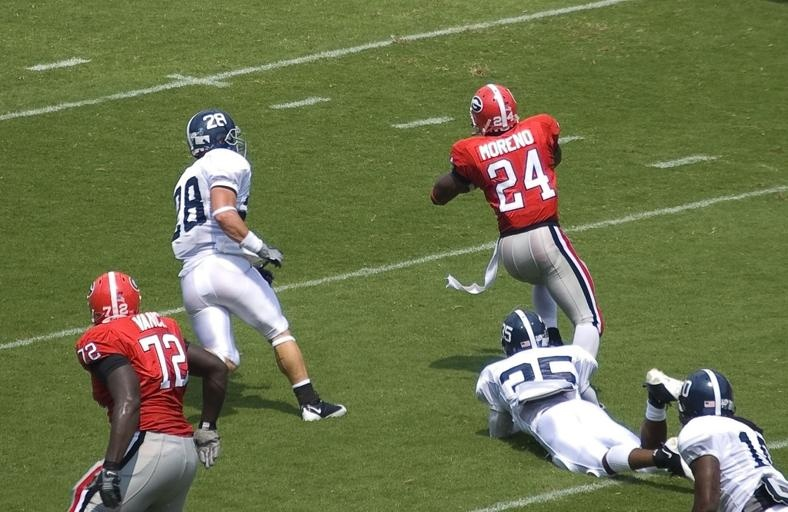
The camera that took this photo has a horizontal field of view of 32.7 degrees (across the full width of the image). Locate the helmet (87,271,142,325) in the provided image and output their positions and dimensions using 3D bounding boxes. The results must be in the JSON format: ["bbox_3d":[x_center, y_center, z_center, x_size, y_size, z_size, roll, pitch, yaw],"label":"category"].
[{"bbox_3d":[-2.504,0.368,12.123,0.425,0.434,0.504,-1,8,-10],"label":"helmet"}]

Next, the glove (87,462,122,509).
[{"bbox_3d":[-2.425,1.944,11.418,0.308,0.332,0.162,16,8,15],"label":"glove"}]

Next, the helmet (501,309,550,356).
[{"bbox_3d":[1.219,0.723,13.149,0.405,0.408,0.503,-13,15,-9],"label":"helmet"}]

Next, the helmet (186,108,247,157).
[{"bbox_3d":[-1.858,-1.224,13.803,0.638,0.472,0.452,-11,7,-10],"label":"helmet"}]

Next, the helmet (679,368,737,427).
[{"bbox_3d":[2.717,1.241,11.915,0.433,0.427,0.533,1,2,0],"label":"helmet"}]

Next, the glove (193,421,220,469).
[{"bbox_3d":[-1.731,1.749,12.342,0.292,0.371,0.111,-3,5,-1],"label":"glove"}]

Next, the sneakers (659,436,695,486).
[{"bbox_3d":[2.508,1.856,12.113,0.221,0.359,0.280,-25,3,26],"label":"sneakers"}]

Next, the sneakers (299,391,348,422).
[{"bbox_3d":[-0.724,1.535,13.400,0.587,0.242,0.186,-4,5,-20],"label":"sneakers"}]

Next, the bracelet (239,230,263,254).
[{"bbox_3d":[-1.412,-0.082,13.192,0.207,0.184,0.224,35,-28,0],"label":"bracelet"}]

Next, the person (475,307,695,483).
[{"bbox_3d":[1.677,1.409,12.729,1.069,0.851,2.205,-11,25,-32],"label":"person"}]

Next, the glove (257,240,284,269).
[{"bbox_3d":[-1.262,0.029,13.291,0.256,0.111,0.240,28,14,-31],"label":"glove"}]
